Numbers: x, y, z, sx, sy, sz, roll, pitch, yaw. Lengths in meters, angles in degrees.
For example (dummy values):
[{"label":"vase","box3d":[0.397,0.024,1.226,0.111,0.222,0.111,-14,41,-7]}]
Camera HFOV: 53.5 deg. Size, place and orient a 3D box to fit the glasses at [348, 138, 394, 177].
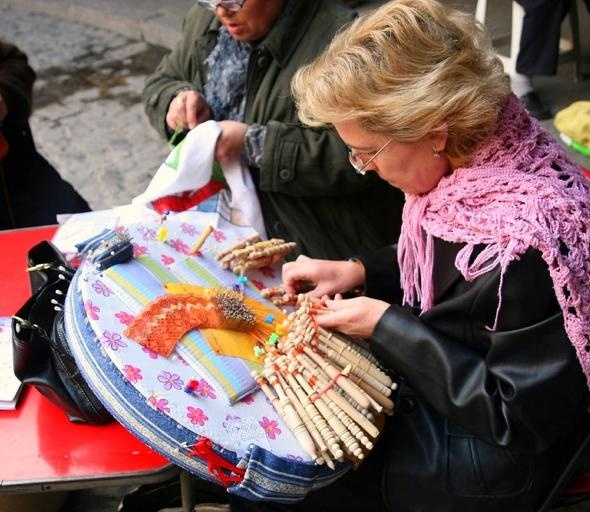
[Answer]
[{"label":"glasses","box3d":[0.213,-0.271,1.625,0.091,0.025,0.090,-47,14,6]}]
